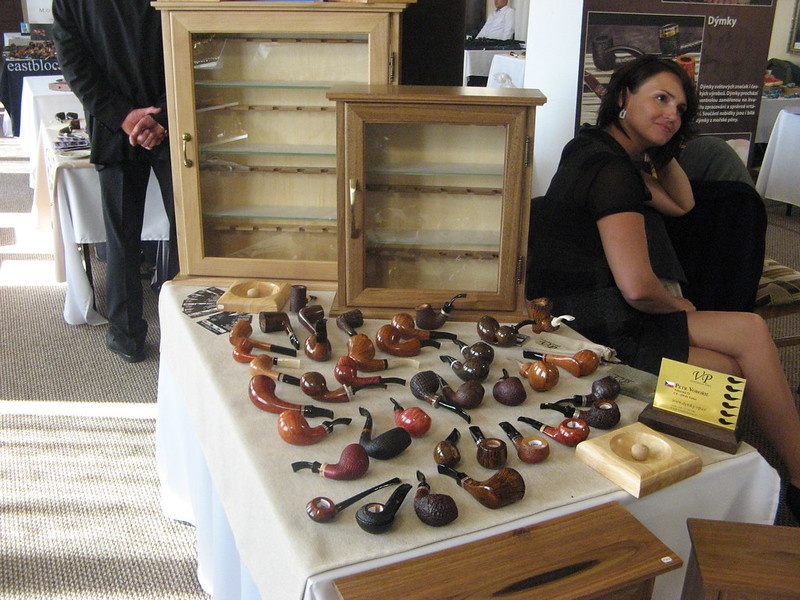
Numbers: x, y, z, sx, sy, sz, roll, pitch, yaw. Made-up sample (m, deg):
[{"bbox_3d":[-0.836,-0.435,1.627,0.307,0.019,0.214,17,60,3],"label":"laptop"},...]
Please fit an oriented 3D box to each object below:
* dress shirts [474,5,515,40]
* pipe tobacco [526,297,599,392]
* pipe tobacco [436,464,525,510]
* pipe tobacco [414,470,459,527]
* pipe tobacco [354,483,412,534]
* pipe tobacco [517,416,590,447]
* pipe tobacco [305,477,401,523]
[{"bbox_3d":[1.250,-3.552,7.854,0.432,0.433,0.364,1,15,10],"label":"dress shirts"},{"bbox_3d":[0.350,0.098,1.458,0.105,0.108,0.295,-10,23,-4],"label":"pipe tobacco"},{"bbox_3d":[0.144,0.313,1.030,0.112,0.039,0.061,19,20,34],"label":"pipe tobacco"},{"bbox_3d":[0.049,0.332,1.027,0.066,0.046,0.121,-6,15,-19],"label":"pipe tobacco"},{"bbox_3d":[-0.018,0.341,1.011,0.062,0.034,0.134,13,22,33],"label":"pipe tobacco"},{"bbox_3d":[0.304,0.245,1.193,0.046,0.032,0.124,-14,18,-43],"label":"pipe tobacco"},{"bbox_3d":[-0.073,0.323,1.036,0.170,0.039,0.048,-9,27,-27],"label":"pipe tobacco"}]
